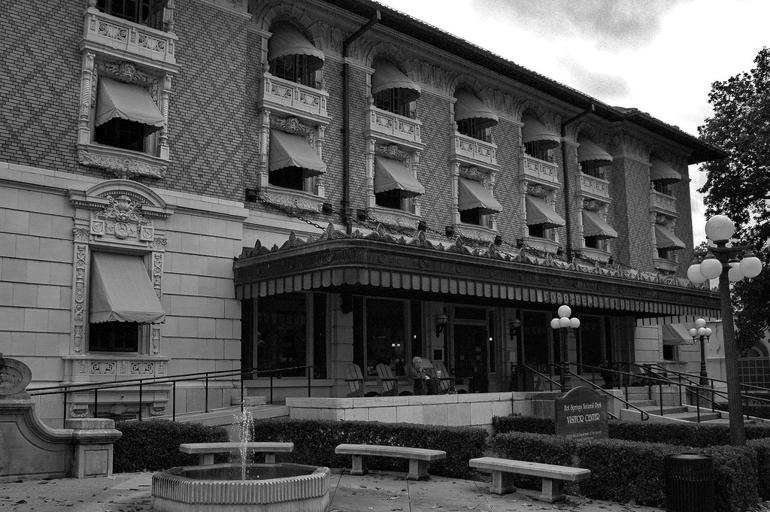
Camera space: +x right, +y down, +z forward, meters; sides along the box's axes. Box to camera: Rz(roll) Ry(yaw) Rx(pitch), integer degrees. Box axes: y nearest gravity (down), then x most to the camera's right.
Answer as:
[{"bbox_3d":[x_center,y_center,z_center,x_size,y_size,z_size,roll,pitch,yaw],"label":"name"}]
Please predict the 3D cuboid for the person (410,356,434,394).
[{"bbox_3d":[1.353,3.964,37.946,0.860,0.441,1.356,-2,-32,23],"label":"person"}]

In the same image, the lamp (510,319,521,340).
[{"bbox_3d":[5.625,3.095,47.230,0.394,0.862,1.168,6,6,18],"label":"lamp"}]

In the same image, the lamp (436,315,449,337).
[{"bbox_3d":[2.306,2.792,44.163,0.354,0.897,0.597,8,7,33],"label":"lamp"}]
